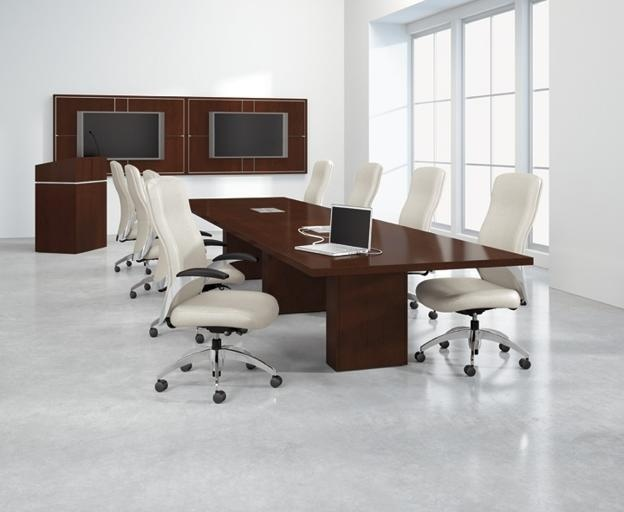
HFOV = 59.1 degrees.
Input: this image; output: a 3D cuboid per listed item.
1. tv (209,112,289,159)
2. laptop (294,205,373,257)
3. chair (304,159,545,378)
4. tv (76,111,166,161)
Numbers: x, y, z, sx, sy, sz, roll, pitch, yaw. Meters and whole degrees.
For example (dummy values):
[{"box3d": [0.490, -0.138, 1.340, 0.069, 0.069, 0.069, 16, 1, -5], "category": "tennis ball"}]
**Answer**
[{"box3d": [-1.390, -2.497, 11.384, 1.309, 0.599, 0.121, -1, 5, -11], "category": "tv"}, {"box3d": [0.075, -0.196, 3.822, 0.491, 0.323, 0.578, 3, 6, -17], "category": "laptop"}, {"box3d": [1.363, 0.036, 4.950, 1.607, 2.071, 1.449, 0, 2, -18], "category": "chair"}, {"box3d": [-3.758, -2.359, 10.894, 1.991, 0.909, 0.119, 4, 9, 16], "category": "tv"}]
